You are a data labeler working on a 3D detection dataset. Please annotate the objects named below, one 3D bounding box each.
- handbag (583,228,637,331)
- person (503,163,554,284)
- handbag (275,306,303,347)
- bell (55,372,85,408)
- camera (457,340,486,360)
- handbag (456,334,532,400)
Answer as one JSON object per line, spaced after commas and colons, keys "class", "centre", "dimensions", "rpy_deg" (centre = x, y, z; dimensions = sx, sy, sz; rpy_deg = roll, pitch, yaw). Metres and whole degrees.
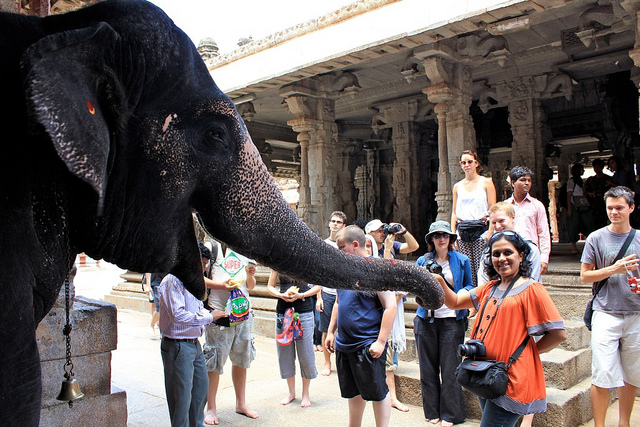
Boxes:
{"class": "handbag", "centre": [2.794, 0.628, 5.641], "dimensions": [0.632, 0.936, 0.227], "rpy_deg": [14, 5, -24]}
{"class": "person", "centre": [2.245, 0.352, 6.191], "dimensions": [0.625, 1.722, 0.565], "rpy_deg": [0, 6, 27]}
{"class": "handbag", "centre": [-0.349, 1.241, 6.241], "dimensions": [0.192, 0.197, 0.519], "rpy_deg": [7, 35, 3]}
{"class": "bell", "centre": [-1.317, 0.922, 2.900], "dimensions": [0.144, 0.162, 0.141], "rpy_deg": [1, -4, -34]}
{"class": "camera", "centre": [1.148, 1.035, 4.221], "dimensions": [0.173, 0.104, 0.130], "rpy_deg": [2, -7, -29]}
{"class": "handbag", "centre": [1.314, 1.134, 4.109], "dimensions": [0.298, 0.601, 0.398], "rpy_deg": [36, -23, -14]}
